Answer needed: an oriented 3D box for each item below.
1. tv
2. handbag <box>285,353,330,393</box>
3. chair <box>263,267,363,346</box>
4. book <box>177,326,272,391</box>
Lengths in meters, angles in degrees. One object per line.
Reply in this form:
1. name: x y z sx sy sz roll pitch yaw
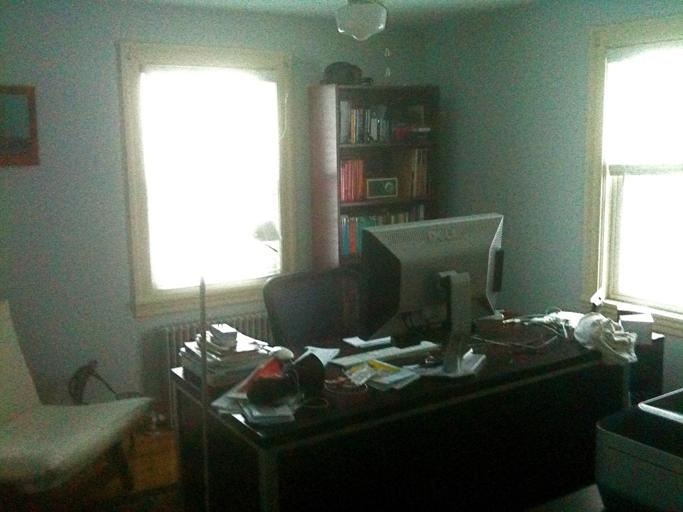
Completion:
1. tv: 0.410 0.203 2.879 0.693 0.578 0.332 -7 23 -19
2. handbag: -0.132 0.460 2.452 0.169 0.149 0.125 -2 3 26
3. chair: -0.211 0.278 3.628 0.446 0.554 0.501 -2 -1 -26
4. book: -0.497 0.429 2.615 0.340 0.102 0.263 -7 13 -43
